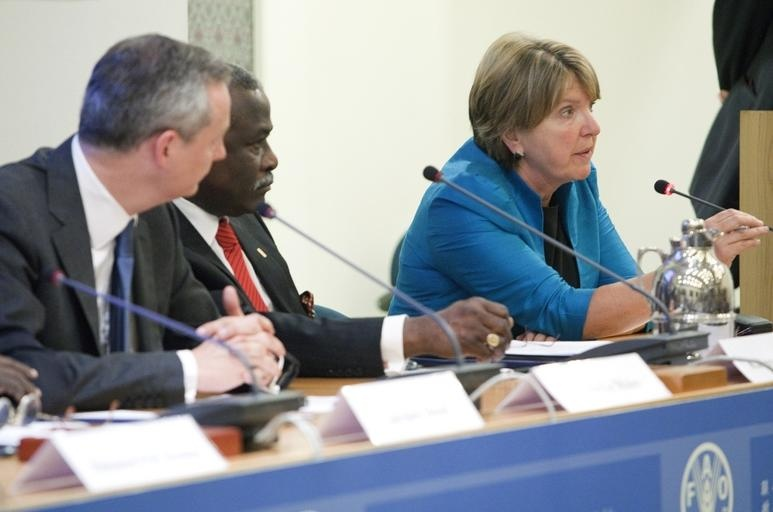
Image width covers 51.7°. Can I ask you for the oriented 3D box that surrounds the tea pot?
[{"bbox_3d":[0.634,0.055,1.663,0.158,0.244,0.222,-7,7,22],"label":"tea pot"}]

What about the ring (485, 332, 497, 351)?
[{"bbox_3d":[0.224,0.180,1.678,0.028,0.038,0.014,-8,8,8],"label":"ring"}]

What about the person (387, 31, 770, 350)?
[{"bbox_3d":[0.515,-0.160,2.665,1.242,0.899,0.803,-7,-1,26],"label":"person"}]
